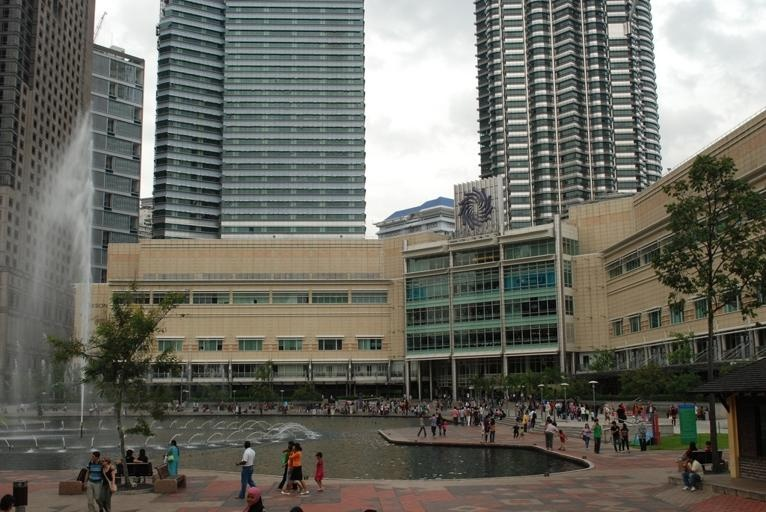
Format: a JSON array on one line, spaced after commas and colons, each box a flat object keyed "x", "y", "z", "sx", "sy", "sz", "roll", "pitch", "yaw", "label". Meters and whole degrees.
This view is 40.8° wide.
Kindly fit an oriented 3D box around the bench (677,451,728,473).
[{"x": 28.991, "y": 18.634, "z": 93.204, "sx": 4.866, "sy": 2.001, "sz": 1.490, "roll": 3, "pitch": -18, "yaw": -17, "label": "bench"}]

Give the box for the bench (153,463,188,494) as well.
[{"x": -19.199, "y": 19.915, "z": 91.814, "sx": 2.647, "sy": 2.488, "sz": 1.114, "roll": 1, "pitch": -18, "yaw": -12, "label": "bench"}]

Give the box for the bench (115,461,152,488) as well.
[{"x": -22.529, "y": 19.878, "z": 93.061, "sx": 3.243, "sy": 2.421, "sz": 2.127, "roll": 9, "pitch": -20, "yaw": -31, "label": "bench"}]

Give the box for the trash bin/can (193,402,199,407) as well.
[{"x": -28.785, "y": 22.778, "z": 156.722, "sx": 1.041, "sy": 0.884, "sz": 0.961, "roll": 0, "pitch": -4, "yaw": 2, "label": "trash bin/can"}]
